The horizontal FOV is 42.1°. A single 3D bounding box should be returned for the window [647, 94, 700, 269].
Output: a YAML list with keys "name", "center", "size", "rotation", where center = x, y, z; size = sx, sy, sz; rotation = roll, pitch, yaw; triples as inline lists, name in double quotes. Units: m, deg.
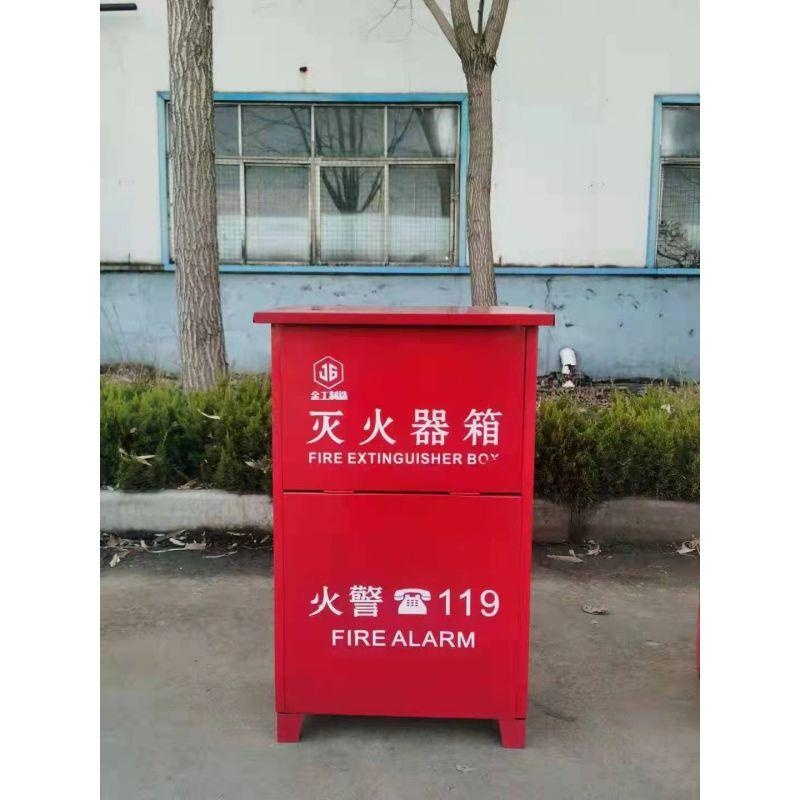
- name: "window"
  center: [1.808, -1.434, 6.852]
  size: [0.341, 1.127, 0.149]
  rotation: [0, 6, 9]
